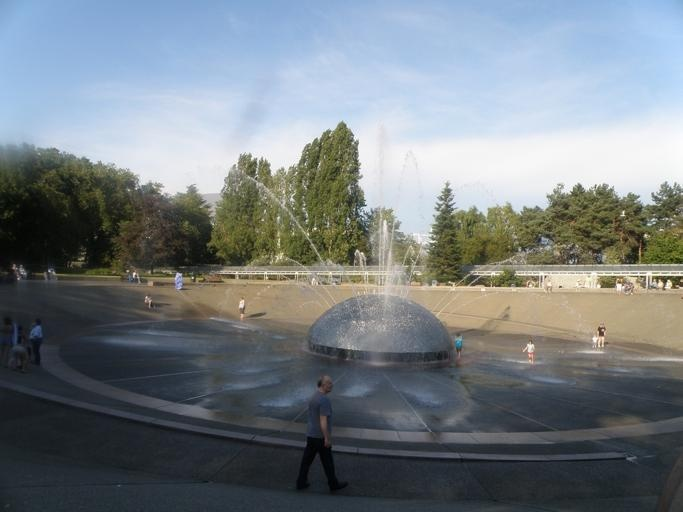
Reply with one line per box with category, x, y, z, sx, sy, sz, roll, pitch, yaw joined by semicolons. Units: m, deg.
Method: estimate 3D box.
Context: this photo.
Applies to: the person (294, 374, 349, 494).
person;-0.439;3.754;12.440;0.991;2.391;0.968;2;8;0
